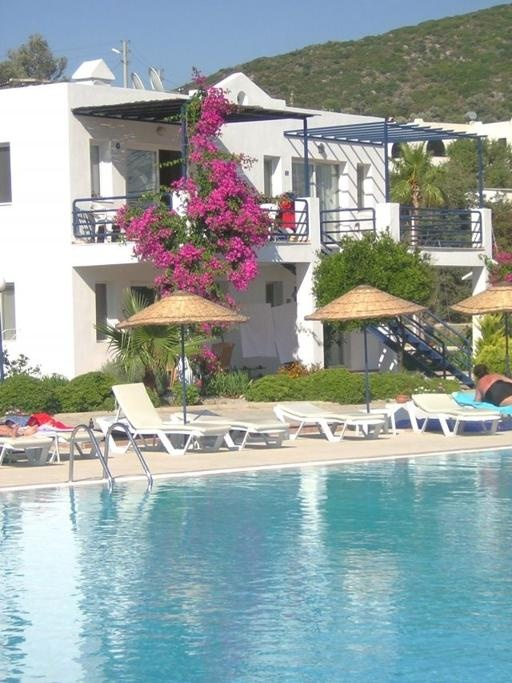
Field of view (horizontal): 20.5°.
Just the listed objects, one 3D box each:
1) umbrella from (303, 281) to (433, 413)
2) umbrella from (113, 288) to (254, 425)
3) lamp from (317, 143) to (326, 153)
[{"bbox_3d":[1.720,0.173,21.237,1.840,2.269,1.900,4,11,37],"label":"umbrella"},{"bbox_3d":[-1.021,0.316,19.560,1.722,2.055,1.865,1,8,17],"label":"umbrella"},{"bbox_3d":[1.604,-4.638,34.117,0.189,0.075,0.315,-5,-7,4],"label":"lamp"}]
